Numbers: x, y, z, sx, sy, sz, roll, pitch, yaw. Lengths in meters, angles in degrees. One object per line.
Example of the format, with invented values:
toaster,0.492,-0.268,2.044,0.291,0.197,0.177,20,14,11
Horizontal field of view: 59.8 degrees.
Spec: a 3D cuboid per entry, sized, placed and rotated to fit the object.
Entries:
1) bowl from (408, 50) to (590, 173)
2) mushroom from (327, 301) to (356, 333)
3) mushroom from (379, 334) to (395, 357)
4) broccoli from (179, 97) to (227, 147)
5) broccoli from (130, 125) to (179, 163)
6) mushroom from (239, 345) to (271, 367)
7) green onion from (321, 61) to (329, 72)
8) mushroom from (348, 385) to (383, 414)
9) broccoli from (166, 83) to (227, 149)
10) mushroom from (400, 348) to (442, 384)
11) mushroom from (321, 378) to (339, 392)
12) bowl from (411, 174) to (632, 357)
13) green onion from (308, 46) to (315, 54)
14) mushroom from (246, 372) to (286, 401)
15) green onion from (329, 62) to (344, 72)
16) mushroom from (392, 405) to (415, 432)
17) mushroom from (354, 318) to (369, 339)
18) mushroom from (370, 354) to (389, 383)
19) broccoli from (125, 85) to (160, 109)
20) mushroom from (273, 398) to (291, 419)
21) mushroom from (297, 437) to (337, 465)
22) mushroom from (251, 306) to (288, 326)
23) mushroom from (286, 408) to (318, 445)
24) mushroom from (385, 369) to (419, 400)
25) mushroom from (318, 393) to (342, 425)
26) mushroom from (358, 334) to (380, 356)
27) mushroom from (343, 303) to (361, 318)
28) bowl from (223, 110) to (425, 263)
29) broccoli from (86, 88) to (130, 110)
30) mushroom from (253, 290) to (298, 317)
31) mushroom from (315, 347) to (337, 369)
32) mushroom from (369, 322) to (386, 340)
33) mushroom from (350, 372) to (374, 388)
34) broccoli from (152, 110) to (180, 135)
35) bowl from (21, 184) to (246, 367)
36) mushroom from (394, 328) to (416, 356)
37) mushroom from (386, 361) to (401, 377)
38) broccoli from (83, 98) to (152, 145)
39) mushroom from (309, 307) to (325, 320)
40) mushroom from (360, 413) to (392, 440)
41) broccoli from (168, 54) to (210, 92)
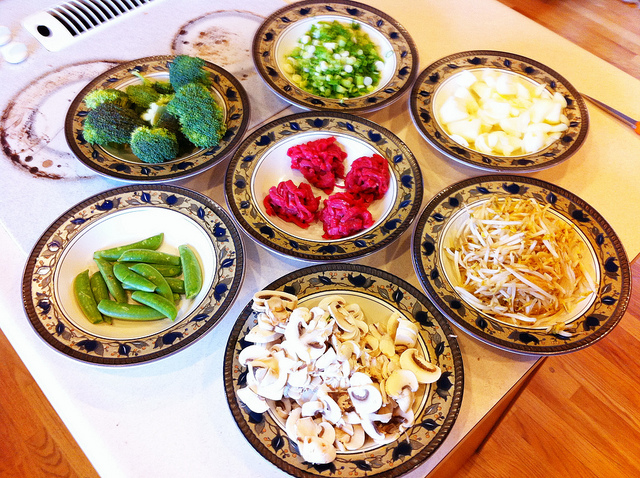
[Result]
bowl,0.602,-0.449,1.894,0.593,0.162,0.518,10,78,5
mushroom,0.052,0.212,1.452,0.046,0.013,0.090,-24,75,-46
mushroom,0.177,0.279,1.465,0.033,0.012,0.049,-13,54,-29
broccoli,-0.370,-0.361,1.809,0.149,0.060,0.146,45,85,4
broccoli,-0.517,-0.295,1.737,0.124,0.054,0.113,-20,90,2
mushroom,-0.172,0.297,1.449,0.084,0.043,0.041,-21,77,-2
green onion,0.014,-0.607,1.959,0.026,0.006,0.026,-10,83,-8
mushroom,0.115,0.396,1.390,0.071,0.036,0.074,-22,77,-2
broccoli,-0.377,-0.391,1.818,0.152,0.090,0.209,-38,77,11
mushroom,0.256,0.331,1.441,0.091,0.036,0.098,-33,51,-22
mushroom,0.024,0.372,1.421,0.042,0.021,0.033,2,77,3
bowl,0.583,0.053,1.634,0.622,0.147,0.554,26,80,8
green onion,-0.031,-0.677,1.998,0.026,0.006,0.023,-40,79,-6
mushroom,-0.145,0.381,1.428,0.102,0.073,0.041,20,79,7
green onion,0.053,-0.605,1.964,0.028,0.007,0.029,-22,99,2
mushroom,0.207,0.454,1.416,0.049,0.022,0.056,-21,84,20
mushroom,0.112,0.235,1.469,0.011,0.043,0.043,-29,100,-35
mushroom,0.153,0.331,1.438,0.049,0.016,0.054,-15,74,-22
broccoli,-0.591,-0.474,1.839,0.090,0.036,0.073,23,60,0
mushroom,-0.097,0.436,1.444,0.039,0.018,0.045,-14,51,-21
mushroom,-0.008,0.507,1.370,0.085,0.034,0.059,-9,39,-38
mushroom,-0.139,0.207,1.465,0.071,0.051,0.018,35,56,-8
mushroom,-0.052,0.467,1.395,0.067,0.039,0.079,-27,78,-3
mushroom,0.201,0.364,1.406,0.086,0.026,0.065,-28,78,-4
mushroom,0.029,0.432,1.401,0.019,0.059,0.072,-37,62,-3
mushroom,0.129,0.276,1.464,0.048,0.032,0.044,28,66,20
mushroom,0.083,0.191,1.478,0.034,0.047,0.017,1,93,1
bowl,0.020,-0.164,1.786,0.517,0.127,0.525,0,59,-1
broccoli,-0.692,-0.462,1.814,0.094,0.041,0.086,13,29,18
mushroom,-0.117,0.162,1.477,0.075,0.075,0.030,4,111,-13
mushroom,0.016,0.306,1.408,0.060,0.016,0.034,-43,79,-7
mushroom,0.152,0.247,1.493,0.015,0.034,0.040,-50,51,25
mushroom,0.100,0.352,1.401,0.057,0.024,0.036,-9,77,1
broccoli,-0.498,-0.362,1.789,0.077,0.021,0.076,29,81,1
bowl,-0.539,0.118,1.623,0.626,0.161,0.633,9,47,-10
mushroom,0.227,0.274,1.476,0.059,0.033,0.061,6,110,27
mushroom,0.192,0.333,1.434,0.032,0.012,0.032,26,96,-11
broccoli,-0.647,-0.364,1.777,0.171,0.063,0.155,9,70,-1
mushroom,-0.015,0.194,1.440,0.028,0.009,0.027,-3,60,11
mushroom,0.139,0.472,1.407,0.077,0.053,0.064,0,77,3
broccoli,-0.444,-0.553,1.870,0.134,0.060,0.119,3,73,1
